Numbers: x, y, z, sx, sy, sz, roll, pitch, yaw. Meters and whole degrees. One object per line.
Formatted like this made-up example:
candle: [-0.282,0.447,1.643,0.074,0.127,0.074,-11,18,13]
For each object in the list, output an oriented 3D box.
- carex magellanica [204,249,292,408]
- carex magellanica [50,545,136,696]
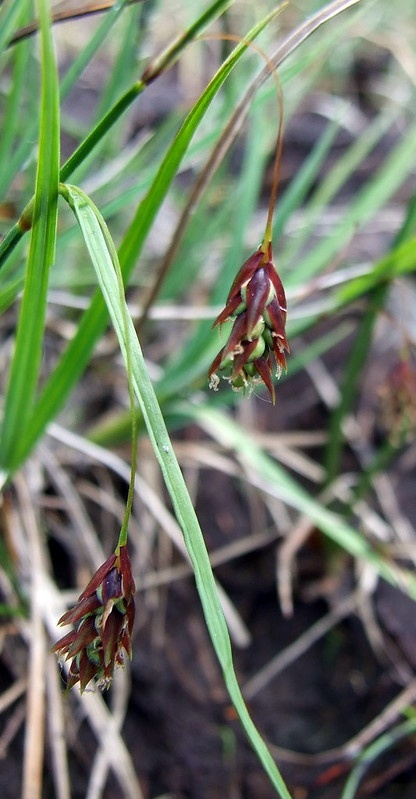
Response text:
carex magellanica: [0.043,-0.082,0.648,0.063,0.132,0.060,-2,23,-13]
carex magellanica: [-0.092,0.192,0.602,0.081,0.165,0.064,11,29,-3]
